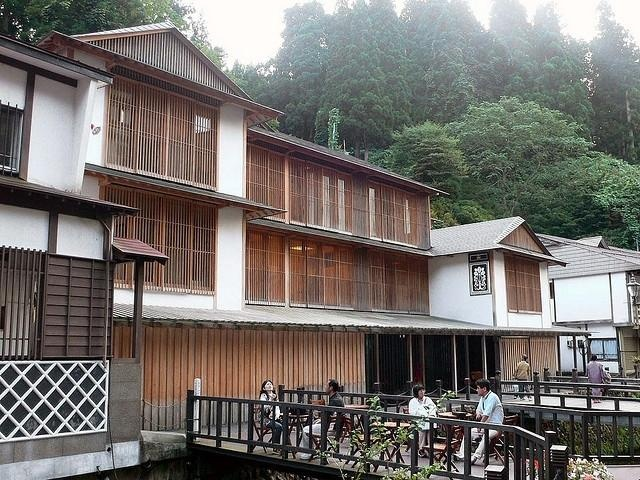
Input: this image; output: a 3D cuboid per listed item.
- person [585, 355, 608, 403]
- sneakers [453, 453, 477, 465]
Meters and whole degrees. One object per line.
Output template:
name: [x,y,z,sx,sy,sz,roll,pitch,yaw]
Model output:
person: [10.519,5.200,23.160,0.723,1.653,0.517,-4,6,23]
sneakers: [3.237,4.951,13.753,0.594,0.274,0.213,-4,-5,22]
